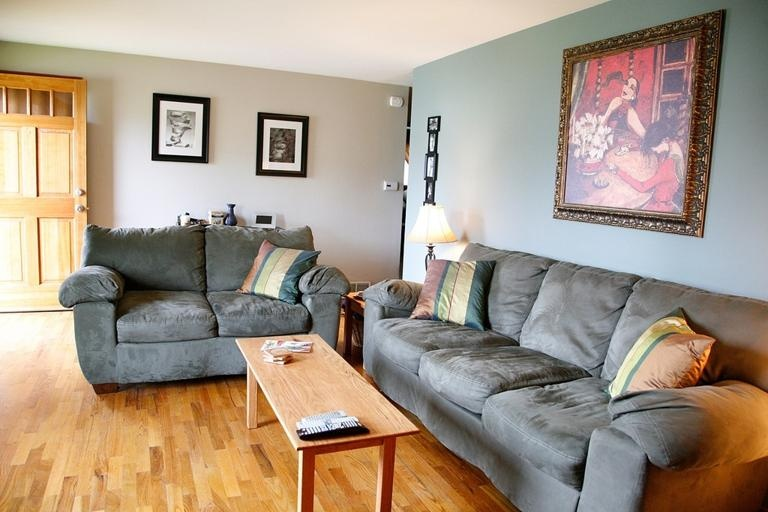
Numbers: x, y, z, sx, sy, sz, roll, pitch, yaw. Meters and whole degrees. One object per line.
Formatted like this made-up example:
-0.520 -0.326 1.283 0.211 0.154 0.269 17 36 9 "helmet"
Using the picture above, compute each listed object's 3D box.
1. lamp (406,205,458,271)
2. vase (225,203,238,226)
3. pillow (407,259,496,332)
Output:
0.438 -0.143 5.296 0.541 0.639 0.480 4 11 27 "lamp"
-1.784 -0.490 6.439 0.132 0.232 0.316 0 9 -12 "vase"
0.517 0.242 4.258 0.627 0.523 0.182 5 -19 34 "pillow"
